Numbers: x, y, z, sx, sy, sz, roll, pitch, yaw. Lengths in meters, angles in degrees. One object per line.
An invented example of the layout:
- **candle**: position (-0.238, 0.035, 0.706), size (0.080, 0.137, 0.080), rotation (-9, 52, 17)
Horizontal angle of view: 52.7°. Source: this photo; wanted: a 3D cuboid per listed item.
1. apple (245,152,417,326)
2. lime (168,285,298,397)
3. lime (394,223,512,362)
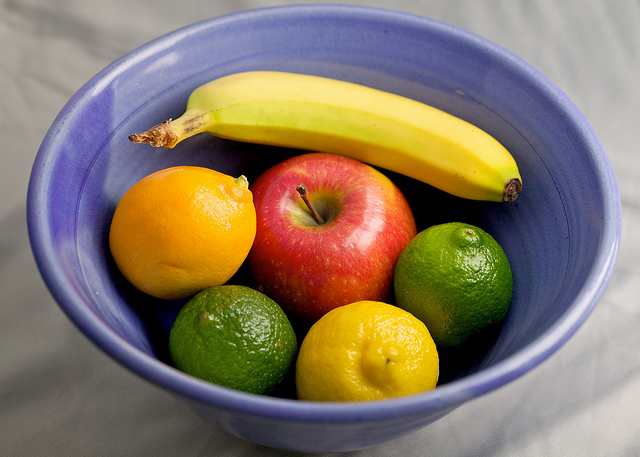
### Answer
- **apple**: position (0.004, 0.032, 1.387), size (0.319, 0.307, 0.317), rotation (-15, 61, -7)
- **lime**: position (-0.171, 0.221, 1.198), size (0.201, 0.202, 0.187), rotation (7, 23, -15)
- **lime**: position (0.240, 0.095, 1.273), size (0.231, 0.219, 0.222), rotation (3, 26, 3)
